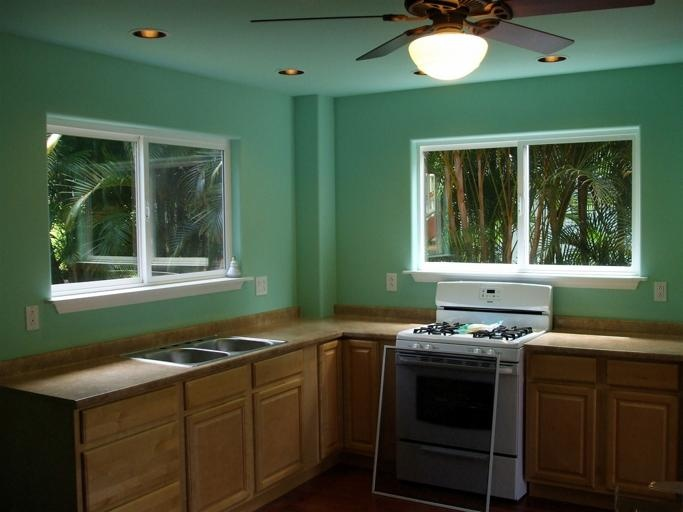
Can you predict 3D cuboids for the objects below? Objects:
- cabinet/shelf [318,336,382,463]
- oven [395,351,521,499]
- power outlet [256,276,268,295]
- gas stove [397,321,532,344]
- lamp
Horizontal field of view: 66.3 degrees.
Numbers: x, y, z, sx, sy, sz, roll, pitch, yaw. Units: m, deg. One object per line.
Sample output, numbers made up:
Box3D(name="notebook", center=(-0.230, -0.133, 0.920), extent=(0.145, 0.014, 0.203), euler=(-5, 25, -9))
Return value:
Box3D(name="cabinet/shelf", center=(0.046, 1.023, 3.792), extent=(0.452, 0.862, 0.228), euler=(2, 6, -2))
Box3D(name="oven", center=(0.827, 1.044, 3.702), extent=(0.888, 1.014, 0.783), euler=(1, 6, 8))
Box3D(name="power outlet", center=(-0.628, 0.235, 4.112), extent=(0.015, 0.152, 0.133), euler=(6, 8, 34))
Box3D(name="gas stove", center=(0.910, 0.513, 3.648), extent=(0.785, 0.060, 0.501), euler=(5, 7, 21))
Box3D(name="lamp", center=(0.399, -0.768, 1.986), extent=(0.283, 0.153, 0.161), euler=(3, 6, 10))
